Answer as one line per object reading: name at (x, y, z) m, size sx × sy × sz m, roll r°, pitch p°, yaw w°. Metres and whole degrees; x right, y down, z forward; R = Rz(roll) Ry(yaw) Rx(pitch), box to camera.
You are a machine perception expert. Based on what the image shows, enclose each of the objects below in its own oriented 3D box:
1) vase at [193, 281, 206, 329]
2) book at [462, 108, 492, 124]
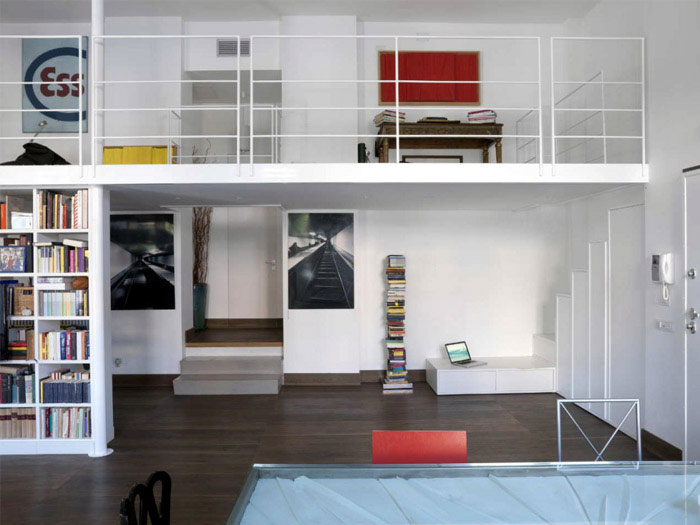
vase at (-2.169, 0.599, 10.807) m, size 0.169 × 0.648 × 0.486 m, roll 2°, pitch -11°, yaw -8°
book at (1.610, -1.819, 9.565) m, size 0.362 × 0.224 × 0.180 m, roll 0°, pitch -11°, yaw -2°
